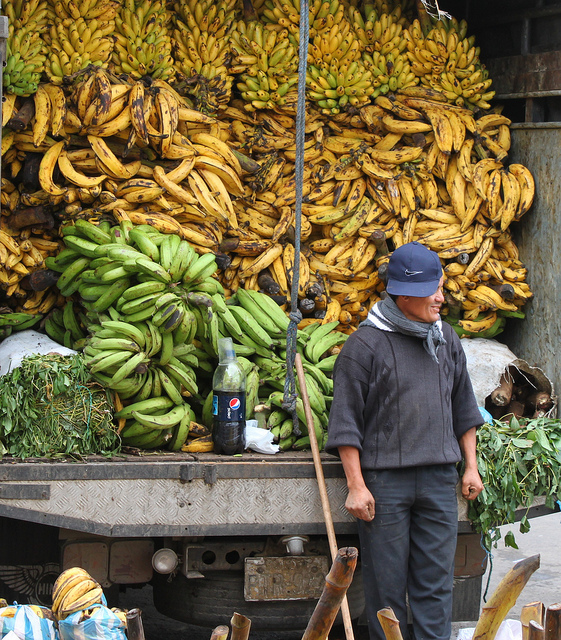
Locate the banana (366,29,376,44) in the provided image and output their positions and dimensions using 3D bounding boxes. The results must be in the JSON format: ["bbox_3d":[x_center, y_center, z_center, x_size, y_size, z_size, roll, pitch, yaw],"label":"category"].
[{"bbox_3d":[0.592,-1.869,5.090,0.047,0.087,0.029,-25,15,29],"label":"banana"}]

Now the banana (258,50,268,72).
[{"bbox_3d":[-0.108,-1.619,4.822,0.064,0.107,0.039,-3,-2,5],"label":"banana"}]

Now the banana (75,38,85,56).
[{"bbox_3d":[-1.115,-1.531,4.316,0.054,0.100,0.035,-4,-1,-10],"label":"banana"}]

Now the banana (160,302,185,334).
[{"bbox_3d":[-0.542,0.004,3.897,0.062,0.203,0.075,46,-12,-15],"label":"banana"}]

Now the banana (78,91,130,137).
[{"bbox_3d":[-0.981,-1.147,4.272,0.103,0.282,0.067,39,-6,0],"label":"banana"}]

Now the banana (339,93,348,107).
[{"bbox_3d":[0.401,-1.406,4.933,0.040,0.076,0.026,3,-6,-22],"label":"banana"}]

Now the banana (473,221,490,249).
[{"bbox_3d":[1.335,-0.558,5.144,0.061,0.216,0.074,-22,-53,39],"label":"banana"}]

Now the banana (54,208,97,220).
[{"bbox_3d":[-1.150,-0.602,4.341,0.240,0.059,0.079,0,-2,13],"label":"banana"}]

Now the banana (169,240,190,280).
[{"bbox_3d":[-0.495,-0.325,4.076,0.052,0.244,0.081,3,-49,18],"label":"banana"}]

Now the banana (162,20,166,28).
[{"bbox_3d":[-0.706,-1.802,4.700,0.011,0.039,0.011,34,-45,-10],"label":"banana"}]

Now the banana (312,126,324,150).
[{"bbox_3d":[0.239,-1.191,5.058,0.058,0.147,0.040,-7,-27,17],"label":"banana"}]

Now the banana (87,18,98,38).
[{"bbox_3d":[-1.065,-1.660,4.362,0.032,0.098,0.036,-1,-33,-6],"label":"banana"}]

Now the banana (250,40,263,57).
[{"bbox_3d":[-0.144,-1.692,4.817,0.048,0.096,0.032,-35,10,30],"label":"banana"}]

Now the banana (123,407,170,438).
[{"bbox_3d":[-0.678,0.518,3.954,0.280,0.076,0.091,-24,-23,4],"label":"banana"}]

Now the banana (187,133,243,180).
[{"bbox_3d":[-0.375,-1.035,4.751,0.385,0.096,0.139,35,-34,-1],"label":"banana"}]

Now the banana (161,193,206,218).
[{"bbox_3d":[-0.571,-0.685,4.550,0.264,0.050,0.066,26,-3,-13],"label":"banana"}]

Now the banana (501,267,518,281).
[{"bbox_3d":[1.475,-0.299,4.991,0.036,0.041,0.135,-22,-36,35],"label":"banana"}]

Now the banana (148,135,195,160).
[{"bbox_3d":[-0.617,-0.996,4.524,0.305,0.095,0.088,12,-28,-12],"label":"banana"}]

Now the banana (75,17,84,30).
[{"bbox_3d":[-1.125,-1.668,4.353,0.045,0.054,0.032,4,-15,35],"label":"banana"}]

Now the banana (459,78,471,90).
[{"bbox_3d":[1.223,-1.572,5.124,0.069,0.061,0.040,0,-2,15],"label":"banana"}]

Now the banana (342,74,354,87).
[{"bbox_3d":[0.431,-1.525,4.919,0.049,0.087,0.028,40,-14,-16],"label":"banana"}]

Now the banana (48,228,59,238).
[{"bbox_3d":[-1.296,-0.505,4.445,0.061,0.038,0.015,30,8,14],"label":"banana"}]

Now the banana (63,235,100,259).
[{"bbox_3d":[-1.081,-0.409,4.186,0.100,0.080,0.278,13,20,-49],"label":"banana"}]

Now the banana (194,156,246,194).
[{"bbox_3d":[-0.359,-0.899,4.719,0.354,0.113,0.093,36,-18,-19],"label":"banana"}]

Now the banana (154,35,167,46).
[{"bbox_3d":[-0.707,-1.661,4.587,0.030,0.038,0.109,18,42,27],"label":"banana"}]

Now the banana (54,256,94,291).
[{"bbox_3d":[-1.101,-0.257,4.164,0.231,0.052,0.084,-47,-21,29],"label":"banana"}]

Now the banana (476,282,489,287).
[{"bbox_3d":[1.326,-0.239,5.091,0.076,0.024,0.035,0,-2,12],"label":"banana"}]

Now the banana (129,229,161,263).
[{"bbox_3d":[-0.716,-0.384,4.058,0.248,0.088,0.066,36,-16,39],"label":"banana"}]

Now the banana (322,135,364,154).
[{"bbox_3d":[0.409,-1.176,5.148,0.343,0.101,0.121,-2,-40,-5],"label":"banana"}]

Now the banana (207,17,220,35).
[{"bbox_3d":[-0.409,-1.828,4.793,0.039,0.135,0.045,29,0,-25],"label":"banana"}]

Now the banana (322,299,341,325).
[{"bbox_3d":[0.331,-0.053,4.898,0.132,0.063,0.248,-2,35,15],"label":"banana"}]

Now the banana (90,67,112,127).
[{"bbox_3d":[-0.982,-1.235,4.254,0.115,0.322,0.141,2,-2,-29],"label":"banana"}]

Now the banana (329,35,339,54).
[{"bbox_3d":[0.341,-1.773,4.965,0.036,0.112,0.033,20,11,7],"label":"banana"}]

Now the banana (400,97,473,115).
[{"bbox_3d":[1.021,-1.433,5.166,0.270,0.067,0.047,16,-46,-7],"label":"banana"}]

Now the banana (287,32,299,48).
[{"bbox_3d":[0.076,-1.800,4.951,0.068,0.097,0.030,1,-2,2],"label":"banana"}]

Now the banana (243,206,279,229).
[{"bbox_3d":[-0.134,-0.659,4.942,0.219,0.055,0.070,32,-8,-10],"label":"banana"}]

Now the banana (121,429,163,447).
[{"bbox_3d":[-0.711,0.596,3.945,0.195,0.062,0.052,-16,5,3],"label":"banana"}]

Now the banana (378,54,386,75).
[{"bbox_3d":[0.658,-1.671,5.044,0.039,0.119,0.040,-7,-1,1],"label":"banana"}]

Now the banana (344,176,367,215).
[{"bbox_3d":[0.502,-0.841,5.091,0.096,0.311,0.109,28,-26,8],"label":"banana"}]

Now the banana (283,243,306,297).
[{"bbox_3d":[0.042,-0.323,4.888,0.107,0.360,0.119,-4,-30,-22],"label":"banana"}]

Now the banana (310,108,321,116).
[{"bbox_3d":[0.225,-1.361,5.051,0.081,0.022,0.024,36,-5,37],"label":"banana"}]

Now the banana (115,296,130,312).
[{"bbox_3d":[-0.819,-0.086,3.966,0.051,0.038,0.144,-8,-16,-34],"label":"banana"}]

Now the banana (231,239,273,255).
[{"bbox_3d":[-0.173,-0.454,4.757,0.309,0.077,0.098,-7,-9,-34],"label":"banana"}]

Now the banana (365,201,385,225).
[{"bbox_3d":[0.626,-0.719,5.197,0.072,0.228,0.079,-5,-46,49],"label":"banana"}]

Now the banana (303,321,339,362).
[{"bbox_3d":[0.286,0.107,4.650,0.060,0.091,0.288,38,-57,-23],"label":"banana"}]

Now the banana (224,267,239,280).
[{"bbox_3d":[-0.303,-0.292,4.813,0.036,0.081,0.098,0,-2,42],"label":"banana"}]

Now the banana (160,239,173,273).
[{"bbox_3d":[-0.616,-0.337,4.079,0.058,0.204,0.071,-31,-56,11],"label":"banana"}]

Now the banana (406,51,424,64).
[{"bbox_3d":[0.878,-1.751,5.156,0.138,0.044,0.036,34,-18,-3],"label":"banana"}]

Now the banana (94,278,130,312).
[{"bbox_3d":[-0.863,-0.136,3.992,0.051,0.191,0.063,52,12,34],"label":"banana"}]

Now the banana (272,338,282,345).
[{"bbox_3d":[-0.021,0.129,4.462,0.017,0.019,0.059,-33,22,-25],"label":"banana"}]

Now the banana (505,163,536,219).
[{"bbox_3d":[1.509,-0.768,4.915,0.109,0.424,0.207,-24,-49,28],"label":"banana"}]
